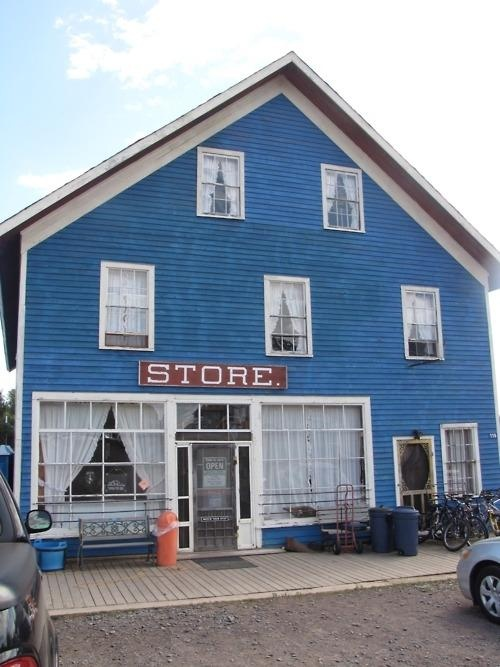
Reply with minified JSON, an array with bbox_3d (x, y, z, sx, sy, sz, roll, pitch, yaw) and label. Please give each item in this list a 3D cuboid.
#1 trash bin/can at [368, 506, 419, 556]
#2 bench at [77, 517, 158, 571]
[{"bbox_3d":[2.830,3.612,11.364,1.197,1.103,0.793,-3,-17,11],"label":"trash bin/can"},{"bbox_3d":[-2.291,3.554,10.229,1.352,0.772,1.020,3,-12,-16],"label":"bench"}]
